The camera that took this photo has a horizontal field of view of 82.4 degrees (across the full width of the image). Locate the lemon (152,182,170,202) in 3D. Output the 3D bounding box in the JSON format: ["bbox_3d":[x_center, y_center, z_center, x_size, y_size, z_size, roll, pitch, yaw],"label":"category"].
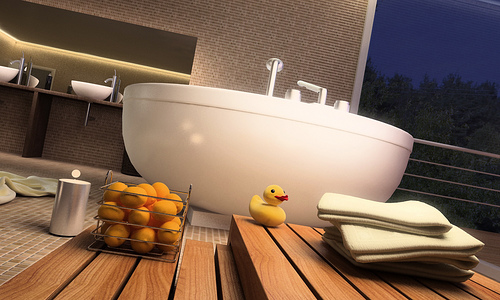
[{"bbox_3d":[-0.348,0.172,1.156,0.068,0.080,0.067,-9,-9,-10],"label":"lemon"}]

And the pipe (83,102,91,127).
[{"bbox_3d":[-1.900,-0.414,3.331,0.062,0.300,0.291,6,7,-31],"label":"pipe"}]

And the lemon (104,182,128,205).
[{"bbox_3d":[-0.509,0.162,1.113,0.083,0.097,0.082,15,-10,-23],"label":"lemon"}]

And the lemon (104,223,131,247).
[{"bbox_3d":[-0.483,0.304,1.051,0.070,0.067,0.093,3,1,35],"label":"lemon"}]

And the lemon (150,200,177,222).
[{"bbox_3d":[-0.317,0.225,1.053,0.087,0.063,0.066,5,-40,-22],"label":"lemon"}]

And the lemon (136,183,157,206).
[{"bbox_3d":[-0.384,0.163,1.104,0.086,0.065,0.066,18,9,19],"label":"lemon"}]

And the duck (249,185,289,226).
[{"bbox_3d":[0.088,0.243,1.278,0.146,0.181,0.218,10,-5,-38],"label":"duck"}]

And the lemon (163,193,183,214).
[{"bbox_3d":[-0.305,0.213,1.134,0.067,0.078,0.069,6,-17,-17],"label":"lemon"}]

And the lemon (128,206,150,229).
[{"bbox_3d":[-0.410,0.260,1.089,0.071,0.080,0.069,23,-34,-14],"label":"lemon"}]

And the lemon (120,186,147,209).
[{"bbox_3d":[-0.424,0.174,1.045,0.068,0.066,0.087,8,-7,19],"label":"lemon"}]

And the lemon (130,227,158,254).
[{"bbox_3d":[-0.388,0.333,1.049,0.095,0.097,0.045,9,7,-16],"label":"lemon"}]

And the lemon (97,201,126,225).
[{"bbox_3d":[-0.502,0.233,1.072,0.093,0.074,0.071,8,46,-6],"label":"lemon"}]

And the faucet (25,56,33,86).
[{"bbox_3d":[-2.587,-0.905,3.334,0.040,0.297,0.065,4,9,-40],"label":"faucet"}]

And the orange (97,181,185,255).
[{"bbox_3d":[-0.422,0.249,1.154,0.347,0.224,0.311,7,5,-20],"label":"orange"}]

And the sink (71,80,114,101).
[{"bbox_3d":[-1.773,-0.659,3.165,0.271,0.098,0.272,10,-5,10],"label":"sink"}]
